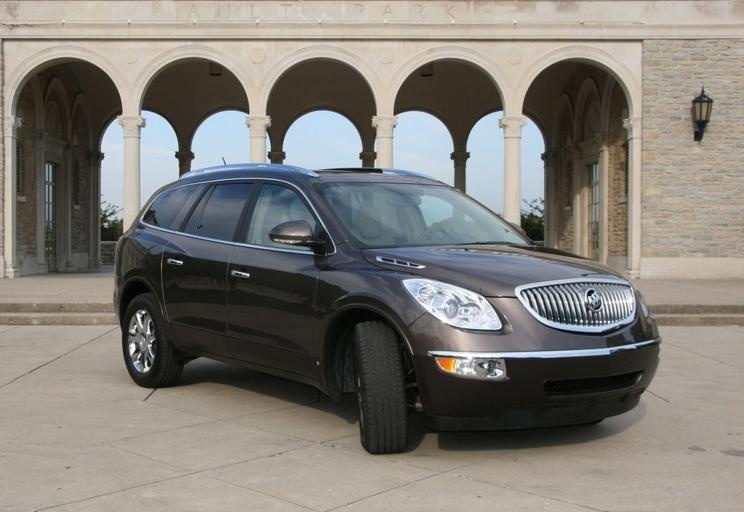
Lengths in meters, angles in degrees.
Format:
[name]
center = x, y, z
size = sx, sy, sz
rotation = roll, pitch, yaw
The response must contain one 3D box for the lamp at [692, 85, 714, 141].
[lamp]
center = 8.440, -3.609, 20.726
size = 0.526, 1.383, 0.414
rotation = -1, 8, -5
